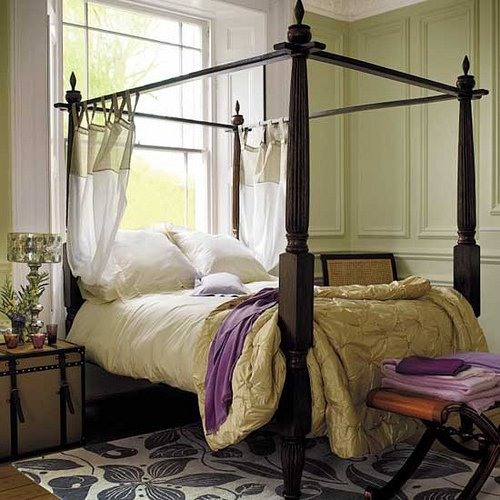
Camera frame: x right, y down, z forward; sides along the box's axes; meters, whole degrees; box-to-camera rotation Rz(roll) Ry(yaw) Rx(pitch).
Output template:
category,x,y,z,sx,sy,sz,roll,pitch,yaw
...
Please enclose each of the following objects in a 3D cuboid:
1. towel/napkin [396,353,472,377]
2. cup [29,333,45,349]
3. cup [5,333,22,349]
category,x,y,z,sx,sy,sz,roll,pitch,yaw
towel/napkin,0.713,0.456,1.924,0.273,0.057,0.191,-2,-3,26
cup,-1.171,0.503,2.726,0.066,0.072,0.074,0,0,2
cup,-1.302,0.497,2.728,0.068,0.075,0.082,2,5,6
